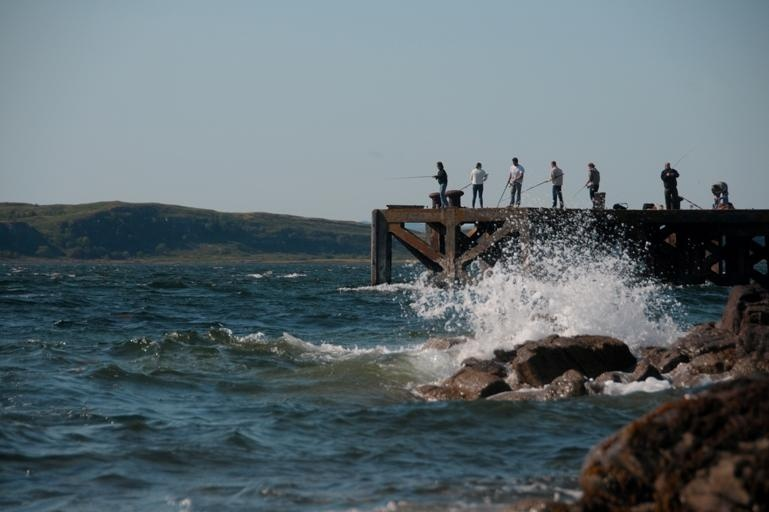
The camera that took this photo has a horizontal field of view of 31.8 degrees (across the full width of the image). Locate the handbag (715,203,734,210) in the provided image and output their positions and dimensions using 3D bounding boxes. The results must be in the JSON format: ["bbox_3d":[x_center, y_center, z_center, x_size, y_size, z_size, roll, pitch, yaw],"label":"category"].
[{"bbox_3d":[11.402,-1.662,45.168,0.526,0.168,1.736,2,7,10],"label":"handbag"}]
